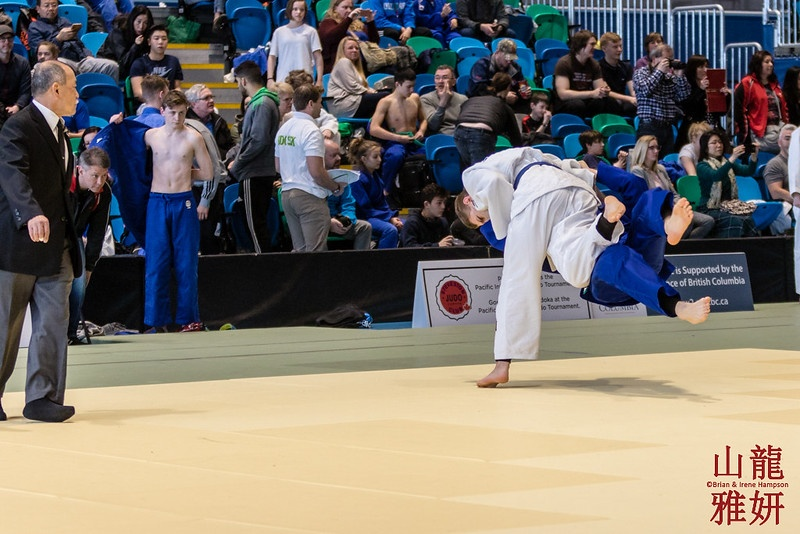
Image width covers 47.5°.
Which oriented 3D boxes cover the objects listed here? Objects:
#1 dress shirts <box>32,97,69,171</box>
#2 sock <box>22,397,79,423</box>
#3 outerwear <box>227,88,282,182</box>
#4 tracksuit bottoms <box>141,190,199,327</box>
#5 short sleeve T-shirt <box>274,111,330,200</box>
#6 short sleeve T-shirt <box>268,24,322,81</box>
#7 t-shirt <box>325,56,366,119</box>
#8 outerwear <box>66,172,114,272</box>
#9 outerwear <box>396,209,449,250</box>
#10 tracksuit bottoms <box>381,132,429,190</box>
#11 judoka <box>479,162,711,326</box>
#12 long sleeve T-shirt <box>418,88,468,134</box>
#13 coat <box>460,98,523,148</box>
[{"bbox_3d":[-2.103,-0.805,5.575,0.106,0.358,0.243,-19,21,-30],"label":"dress shirts"},{"bbox_3d":[-2.045,0.846,5.350,0.284,0.132,0.121,0,-4,17],"label":"sock"},{"bbox_3d":[-1.379,-1.257,8.743,0.487,0.877,0.339,-3,10,-11],"label":"outerwear"},{"bbox_3d":[-2.020,-0.070,8.055,0.469,1.180,0.304,-2,5,-9],"label":"tracksuit bottoms"},{"bbox_3d":[-0.913,-1.023,8.430,0.453,0.813,0.734,-10,15,-42],"label":"short sleeve T-shirt"},{"bbox_3d":[-1.217,-2.474,10.598,0.554,0.689,0.375,1,7,-4],"label":"short sleeve T-shirt"},{"bbox_3d":[-0.611,-2.020,10.701,0.525,0.763,0.537,-2,-8,-19],"label":"t-shirt"},{"bbox_3d":[-2.480,-0.340,7.255,0.251,0.884,0.277,23,-20,-32],"label":"outerwear"},{"bbox_3d":[0.268,-0.346,9.337,0.352,0.430,0.411,8,7,-39],"label":"outerwear"},{"bbox_3d":[0.035,-1.154,10.038,0.496,0.637,0.448,-2,10,-9],"label":"tracksuit bottoms"},{"bbox_3d":[1.332,0.009,5.799,0.519,0.453,1.121,-16,-28,31],"label":"judoka"},{"bbox_3d":[0.554,-1.737,10.648,0.636,0.644,0.417,-10,15,-27],"label":"long sleeve T-shirt"},{"bbox_3d":[0.874,-1.441,9.358,0.747,0.558,0.442,4,-27,15],"label":"coat"}]
